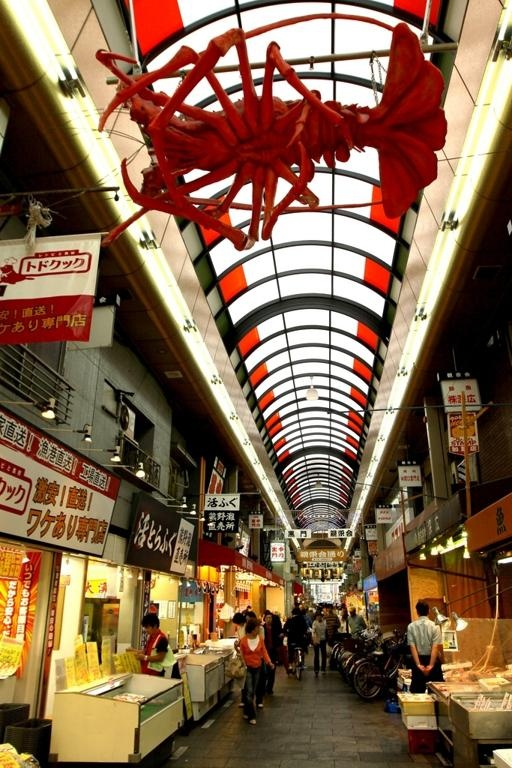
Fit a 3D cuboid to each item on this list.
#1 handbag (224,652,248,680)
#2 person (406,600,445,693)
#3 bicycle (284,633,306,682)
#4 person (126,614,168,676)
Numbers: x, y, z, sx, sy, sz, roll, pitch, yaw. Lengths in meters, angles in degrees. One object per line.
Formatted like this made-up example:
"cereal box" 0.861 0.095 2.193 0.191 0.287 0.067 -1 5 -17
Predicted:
"handbag" -0.318 4.707 7.512 0.424 0.401 0.248 -11 -24 27
"person" 1.957 3.098 5.318 0.362 1.185 0.299 -3 6 7
"bicycle" 1.160 8.042 13.341 0.826 1.112 1.855 -2 -18 4
"person" -1.261 3.110 5.431 0.374 0.656 0.876 5 -22 -12
